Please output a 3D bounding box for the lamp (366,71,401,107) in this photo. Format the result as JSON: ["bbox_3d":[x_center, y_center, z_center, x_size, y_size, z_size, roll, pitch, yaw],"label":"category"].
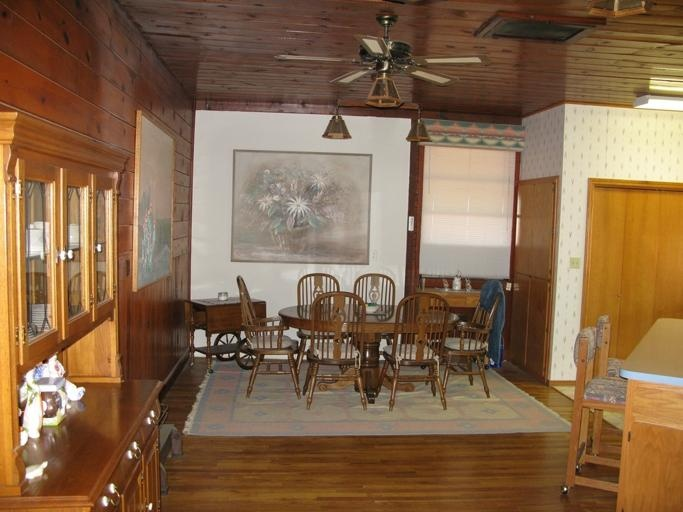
[{"bbox_3d":[0.280,-1.133,3.614,0.228,0.233,0.239,0,-7,-1],"label":"lamp"}]

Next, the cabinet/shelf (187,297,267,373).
[{"bbox_3d":[-1.402,0.860,6.407,1.082,0.957,0.634,0,2,-34],"label":"cabinet/shelf"}]

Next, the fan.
[{"bbox_3d":[0.423,-1.344,3.552,0.765,0.282,0.824,3,1,14],"label":"fan"}]

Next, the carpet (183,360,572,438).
[{"bbox_3d":[0.257,1.467,5.128,3.474,0.042,1.411,2,6,-5],"label":"carpet"}]

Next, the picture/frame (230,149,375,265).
[{"bbox_3d":[-0.585,-0.659,6.547,1.536,1.162,0.030,1,4,-4],"label":"picture/frame"}]

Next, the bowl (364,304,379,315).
[{"bbox_3d":[0.299,0.552,5.367,0.155,0.071,0.151,0,-3,0],"label":"bowl"}]
